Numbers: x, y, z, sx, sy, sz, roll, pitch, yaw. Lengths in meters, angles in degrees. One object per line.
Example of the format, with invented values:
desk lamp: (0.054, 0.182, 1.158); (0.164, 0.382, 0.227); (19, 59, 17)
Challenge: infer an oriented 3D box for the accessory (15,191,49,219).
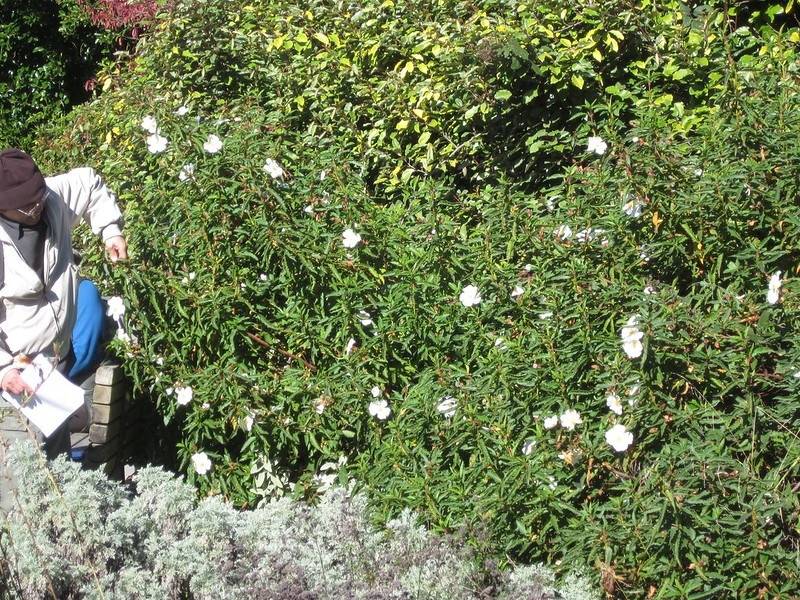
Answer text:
accessory: (-2.022, -0.505, 4.911); (0.136, 0.044, 0.138); (-27, 3, 29)

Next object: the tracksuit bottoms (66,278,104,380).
tracksuit bottoms: (-1.875, 0.193, 5.329); (0.151, 0.523, 0.363); (5, 2, -5)
